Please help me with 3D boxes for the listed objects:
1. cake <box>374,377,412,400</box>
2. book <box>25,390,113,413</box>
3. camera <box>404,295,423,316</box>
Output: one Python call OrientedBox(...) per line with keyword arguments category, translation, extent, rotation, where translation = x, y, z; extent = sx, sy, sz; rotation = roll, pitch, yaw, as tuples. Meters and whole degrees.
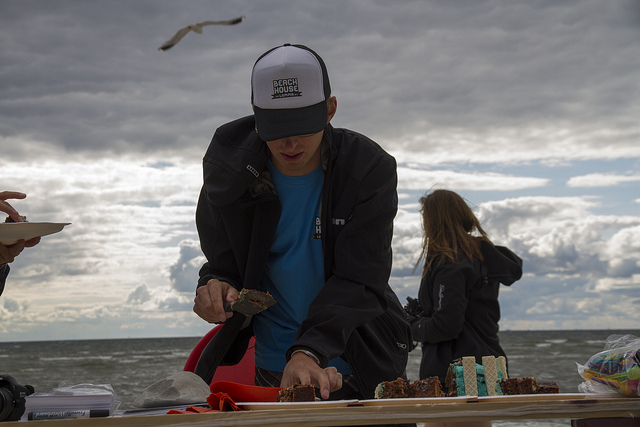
OrientedBox(category="cake", translation=(0.472, 1.121, 5.598), extent=(0.150, 0.048, 0.149), rotation=(-13, 33, -10))
OrientedBox(category="book", translation=(-1.462, 1.099, 5.206), extent=(0.499, 0.118, 0.166), rotation=(-2, -6, -3))
OrientedBox(category="camera", translation=(0.897, 0.885, 8.411), extent=(0.158, 0.171, 0.294), rotation=(-3, -6, 2))
